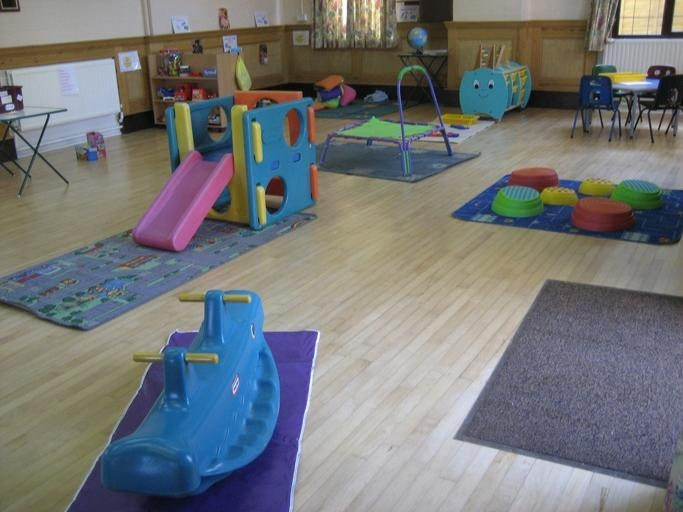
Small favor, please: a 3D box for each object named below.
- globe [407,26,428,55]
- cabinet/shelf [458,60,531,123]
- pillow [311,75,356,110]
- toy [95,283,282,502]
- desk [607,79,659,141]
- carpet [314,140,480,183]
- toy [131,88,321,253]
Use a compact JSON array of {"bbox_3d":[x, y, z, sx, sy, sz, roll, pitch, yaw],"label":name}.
[{"bbox_3d":[1.408,-3.986,9.037,0.366,0.438,0.477,1,21,10],"label":"globe"},{"bbox_3d":[2.528,-3.033,8.051,0.916,0.935,1.452,8,26,26],"label":"cabinet/shelf"},{"bbox_3d":[-0.151,-3.083,9.305,0.717,0.297,0.719,-25,39,-28],"label":"pillow"},{"bbox_3d":[-0.495,0.517,2.025,0.478,0.456,0.910,3,27,9],"label":"toy"},{"bbox_3d":[4.161,-2.077,6.978,0.538,0.956,0.644,-11,27,-5],"label":"desk"},{"bbox_3d":[0.606,-1.258,6.206,1.967,0.247,1.482,10,25,28],"label":"carpet"},{"bbox_3d":[-1.069,-0.858,4.560,1.060,1.211,1.814,13,26,30],"label":"toy"}]
